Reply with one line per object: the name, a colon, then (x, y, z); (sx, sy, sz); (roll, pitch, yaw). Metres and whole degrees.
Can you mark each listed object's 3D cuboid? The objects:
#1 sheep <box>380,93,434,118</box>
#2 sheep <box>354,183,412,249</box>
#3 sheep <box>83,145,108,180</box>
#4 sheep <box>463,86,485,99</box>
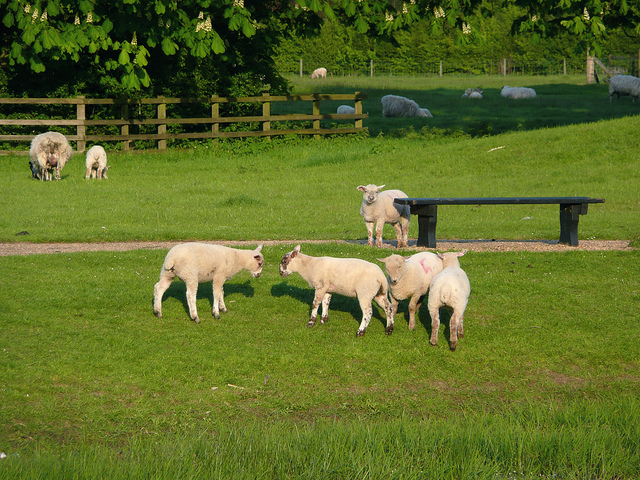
sheep: (4.255, -6.796, 60.829); (3.173, 0.987, 1.016); (12, 17, 40)
sheep: (1.792, -0.646, 32.674); (0.700, 1.747, 2.531); (5, 4, 35)
sheep: (-8.005, -2.765, 42.160); (0.702, 1.209, 0.965); (-2, 12, -10)
sheep: (9.087, -8.658, 70.186); (0.868, 0.800, 1.410); (0, 14, -5)
